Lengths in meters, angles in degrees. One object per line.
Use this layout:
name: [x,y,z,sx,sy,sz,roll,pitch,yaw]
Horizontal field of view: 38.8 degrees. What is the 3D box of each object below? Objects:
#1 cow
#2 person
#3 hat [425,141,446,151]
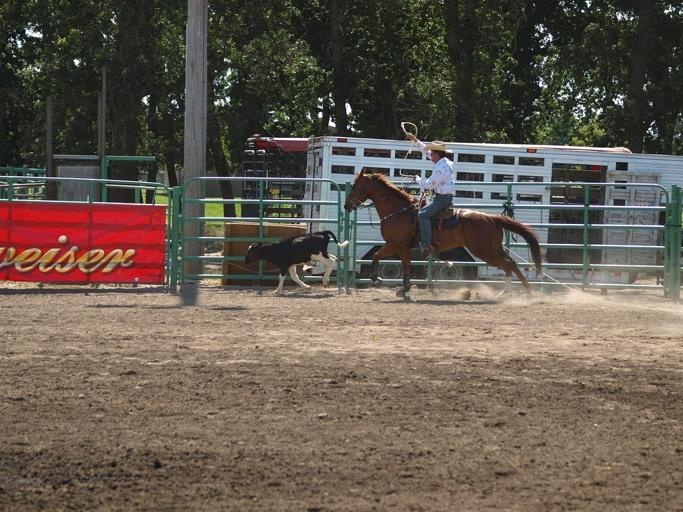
cow: [-0.933,0.137,19.697,1.997,1.232,1.057,-1,14,-9]
person: [1.799,-1.105,19.147,0.795,2.148,0.603,0,14,-8]
hat: [1.863,-2.143,19.079,0.315,0.115,0.288,6,0,13]
